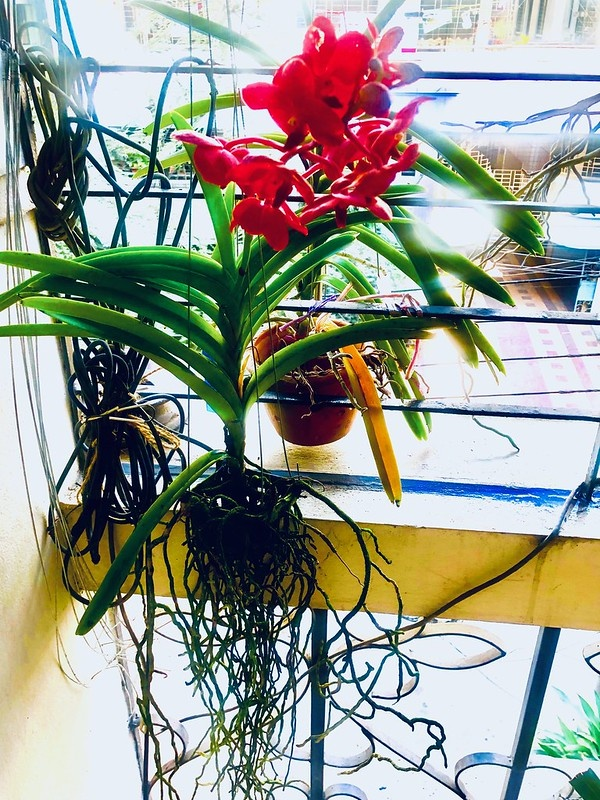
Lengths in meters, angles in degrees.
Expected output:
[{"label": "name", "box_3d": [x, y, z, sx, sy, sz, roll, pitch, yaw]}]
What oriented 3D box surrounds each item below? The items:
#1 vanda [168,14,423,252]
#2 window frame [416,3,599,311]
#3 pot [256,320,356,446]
[{"label": "vanda", "box_3d": [0.009, -0.292, 0.903, 0.265, 0.237, 0.162, -1, -12, 22]}, {"label": "window frame", "box_3d": [0.334, -0.427, 1.546, 0.248, 0.614, 0.463, 8, 29, 16]}, {"label": "pot", "box_3d": [0.031, 0.062, 1.441, 0.204, 0.155, 0.196, 7, -35, 5]}]
